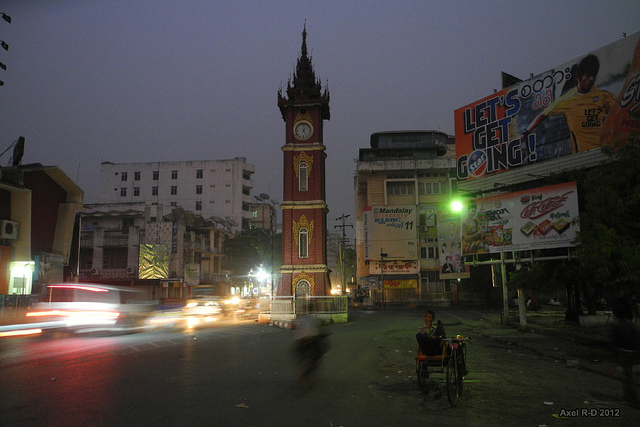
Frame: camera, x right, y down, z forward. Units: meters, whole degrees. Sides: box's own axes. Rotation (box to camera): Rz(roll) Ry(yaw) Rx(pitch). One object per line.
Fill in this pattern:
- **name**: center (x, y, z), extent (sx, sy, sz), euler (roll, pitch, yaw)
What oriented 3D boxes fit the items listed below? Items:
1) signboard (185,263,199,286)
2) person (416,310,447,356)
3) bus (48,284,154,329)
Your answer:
- **signboard**: center (-17.220, 8.164, 69.333), extent (1.526, 2.717, 2.818), euler (-2, -7, 3)
- **person**: center (3.806, 4.204, 17.850), extent (1.024, 1.814, 1.086), euler (-14, -36, 30)
- **bus**: center (-12.574, 5.182, 29.939), extent (4.742, 3.083, 2.159), euler (1, 10, -10)
